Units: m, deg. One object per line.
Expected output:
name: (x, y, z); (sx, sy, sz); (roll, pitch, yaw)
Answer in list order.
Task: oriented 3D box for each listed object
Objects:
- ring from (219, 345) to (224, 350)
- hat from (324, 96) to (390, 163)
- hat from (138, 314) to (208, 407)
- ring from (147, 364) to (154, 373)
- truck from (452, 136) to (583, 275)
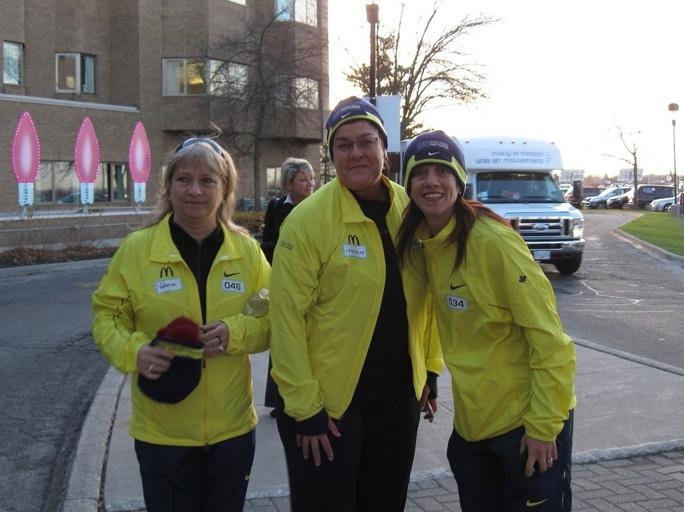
ring: (-0.658, 0.499, 3.306); (0.028, 0.036, 0.012); (-2, 6, -10)
hat: (0.078, -0.764, 3.657); (0.282, 0.357, 0.388); (0, -30, -8)
hat: (-0.919, 0.559, 3.257); (0.342, 0.469, 0.166); (-3, 7, -18)
ring: (-1.008, 0.588, 3.204); (0.007, 0.029, 0.029); (18, -4, -32)
truck: (4.674, -1.340, 17.764); (2.911, 3.383, 5.578); (0, 1, 0)
